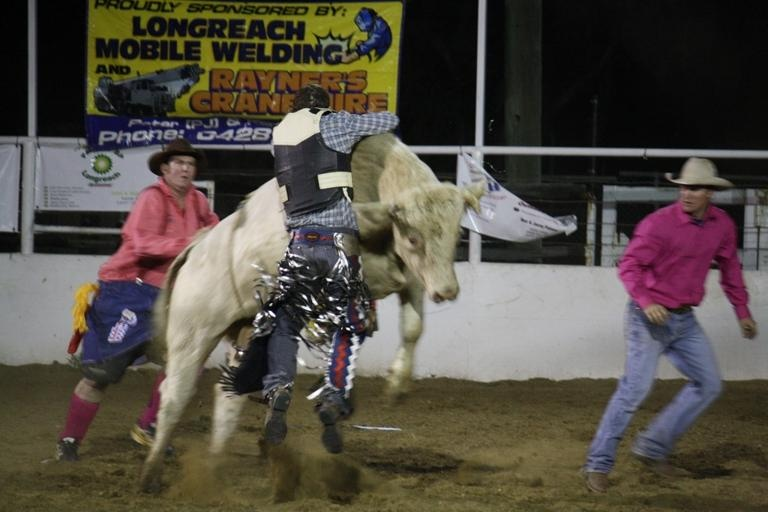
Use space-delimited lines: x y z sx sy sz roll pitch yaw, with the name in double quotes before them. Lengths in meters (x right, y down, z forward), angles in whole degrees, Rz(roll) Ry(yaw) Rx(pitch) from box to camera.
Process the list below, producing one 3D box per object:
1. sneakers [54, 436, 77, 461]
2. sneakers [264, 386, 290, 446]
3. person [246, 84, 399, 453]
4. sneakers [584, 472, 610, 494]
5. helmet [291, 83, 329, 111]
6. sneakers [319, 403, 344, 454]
"sneakers" -3.040 1.851 10.288 0.218 0.201 0.234 0 6 -17
"sneakers" -0.923 1.382 9.244 0.226 0.499 0.232 11 -5 -18
"person" -0.530 0.080 9.418 0.967 3.187 0.754 2 5 -4
"sneakers" 2.017 2.091 9.903 0.231 0.186 0.207 1 6 -5
"helmet" -0.649 -1.445 9.690 0.305 0.278 0.234 1 -4 1
"sneakers" -0.467 1.475 9.300 0.186 0.478 0.207 -10 -4 -10
